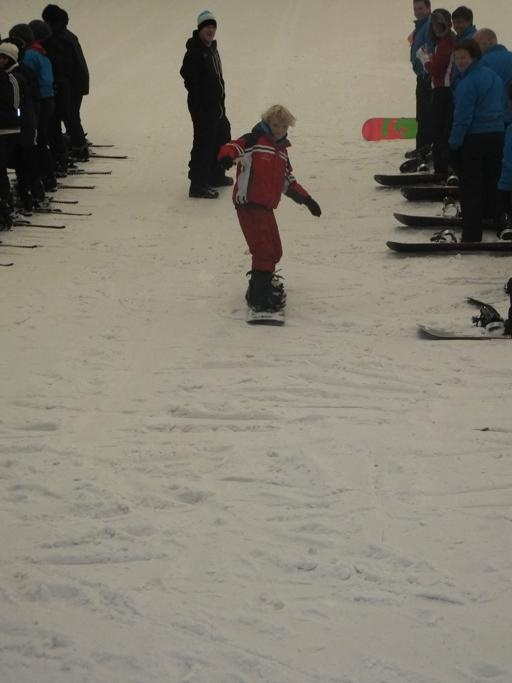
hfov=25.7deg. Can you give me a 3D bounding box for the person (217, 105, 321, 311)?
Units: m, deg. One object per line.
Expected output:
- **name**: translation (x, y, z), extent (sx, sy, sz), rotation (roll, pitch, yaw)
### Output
- **person**: translation (0.079, -0.840, 7.174), extent (0.554, 1.358, 0.597), rotation (-1, 20, 4)

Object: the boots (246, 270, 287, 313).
- **boots**: translation (0.064, -0.329, 7.280), extent (0.324, 0.283, 0.198), rotation (0, 7, -2)
